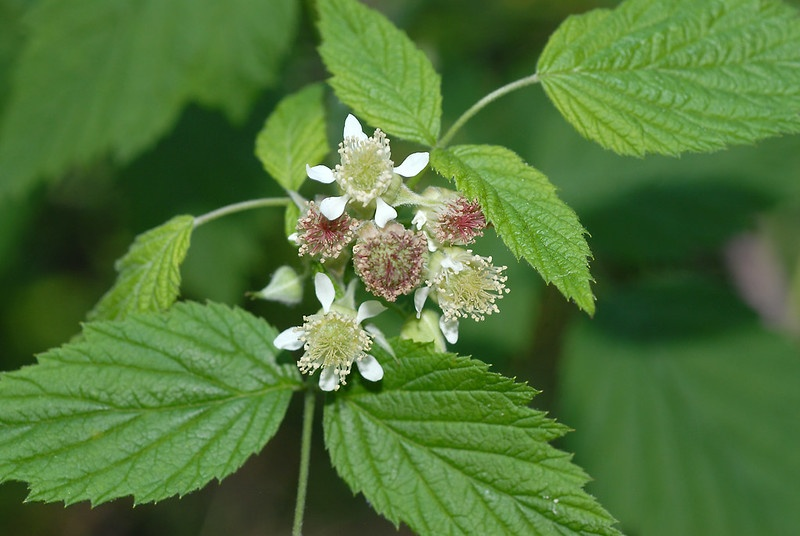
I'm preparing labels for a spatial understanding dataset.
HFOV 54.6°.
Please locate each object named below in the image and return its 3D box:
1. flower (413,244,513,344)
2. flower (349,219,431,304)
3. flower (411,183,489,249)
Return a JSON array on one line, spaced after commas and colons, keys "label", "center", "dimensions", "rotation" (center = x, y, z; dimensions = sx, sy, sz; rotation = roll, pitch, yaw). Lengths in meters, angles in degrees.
[{"label": "flower", "center": [0.352, 0.119, 4.756], "dimensions": [0.559, 0.428, 0.399], "rotation": [-13, 59, -1]}, {"label": "flower", "center": [-0.053, -0.054, 4.545], "dimensions": [0.435, 0.210, 0.455], "rotation": [27, 95, -2]}, {"label": "flower", "center": [0.302, -0.300, 4.612], "dimensions": [0.364, 0.187, 0.348], "rotation": [12, 98, 15]}]
